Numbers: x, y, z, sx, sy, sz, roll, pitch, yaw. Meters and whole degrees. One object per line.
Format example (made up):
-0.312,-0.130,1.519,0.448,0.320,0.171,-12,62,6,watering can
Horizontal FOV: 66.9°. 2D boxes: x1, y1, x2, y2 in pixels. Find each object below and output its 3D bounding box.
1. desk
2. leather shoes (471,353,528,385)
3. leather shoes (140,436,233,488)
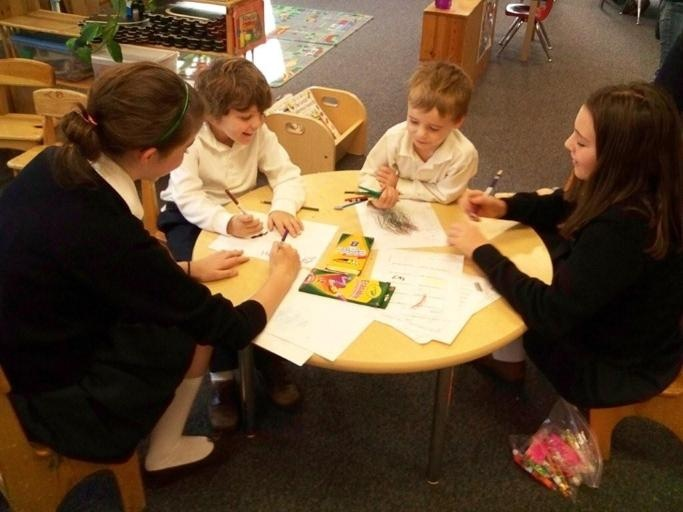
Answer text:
0.143,0.366,1.784,1.017,0.611,1.059,27,47,25,desk
0.661,0.475,2.171,0.168,0.137,0.069,19,1,15,leather shoes
-0.542,0.736,1.789,0.114,0.046,0.299,30,24,32,leather shoes
